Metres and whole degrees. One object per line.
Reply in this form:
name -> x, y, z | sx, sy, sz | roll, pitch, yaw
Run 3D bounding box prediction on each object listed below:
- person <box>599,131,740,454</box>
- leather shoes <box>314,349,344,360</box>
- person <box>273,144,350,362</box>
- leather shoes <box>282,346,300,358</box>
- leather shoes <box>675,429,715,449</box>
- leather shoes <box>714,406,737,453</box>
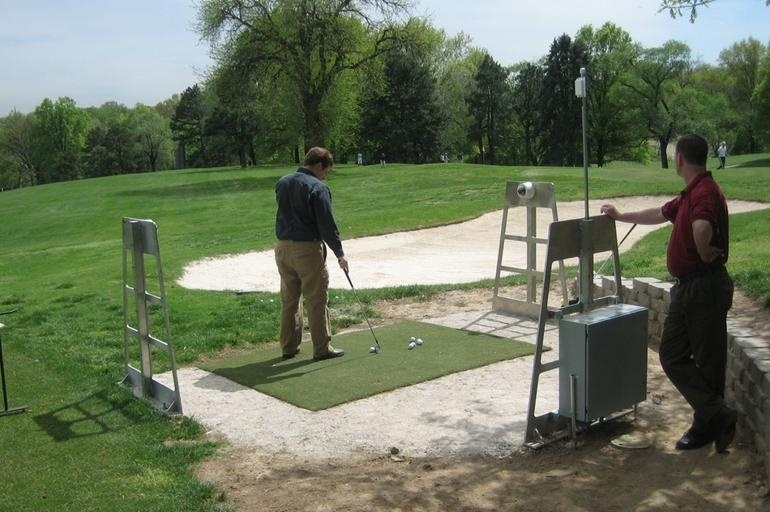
person -> 3.670, 0.410, 8.884 | 0.777, 3.579, 1.288 | 1, 14, 5
leather shoes -> -0.844, 1.475, 11.332 | 0.437, 0.196, 0.173 | -7, 5, -20
person -> -1.121, 0.003, 11.144 | 1.060, 3.096, 0.693 | 1, 14, 6
leather shoes -> -1.425, 1.460, 11.413 | 0.111, 0.130, 0.303 | 4, 14, 30
leather shoes -> 3.623, 2.172, 8.806 | 0.454, 0.182, 0.195 | -8, 3, -8
leather shoes -> 3.886, 1.986, 8.659 | 0.211, 0.592, 0.264 | 6, 2, 22
